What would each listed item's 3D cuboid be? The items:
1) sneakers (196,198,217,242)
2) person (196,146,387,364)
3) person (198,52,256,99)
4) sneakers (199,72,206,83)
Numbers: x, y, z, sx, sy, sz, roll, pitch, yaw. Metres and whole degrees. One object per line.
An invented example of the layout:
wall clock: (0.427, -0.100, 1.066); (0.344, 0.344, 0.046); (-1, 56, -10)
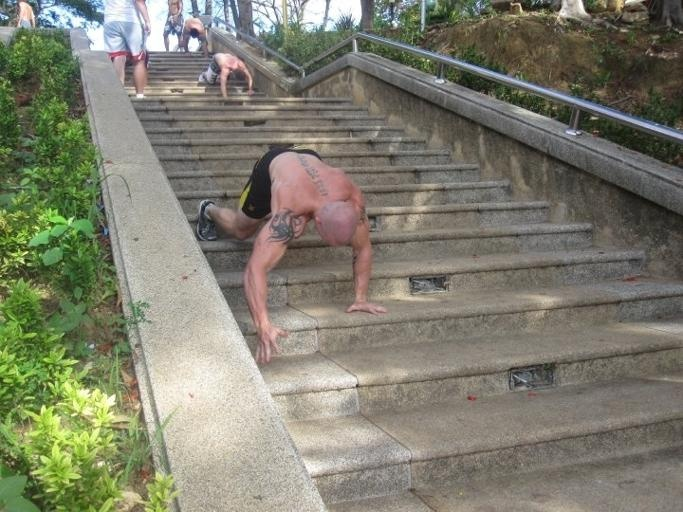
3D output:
sneakers: (-1.107, -0.289, 5.383); (0.119, 0.141, 0.356); (17, 45, -42)
person: (-0.279, -0.116, 4.806); (0.999, 1.297, 1.416); (-4, 14, -17)
person: (-1.958, -3.122, 11.316); (0.638, 0.623, 1.174); (-13, 38, -32)
sneakers: (-2.494, -3.209, 11.926); (0.106, 0.134, 0.327); (3, 20, -12)
